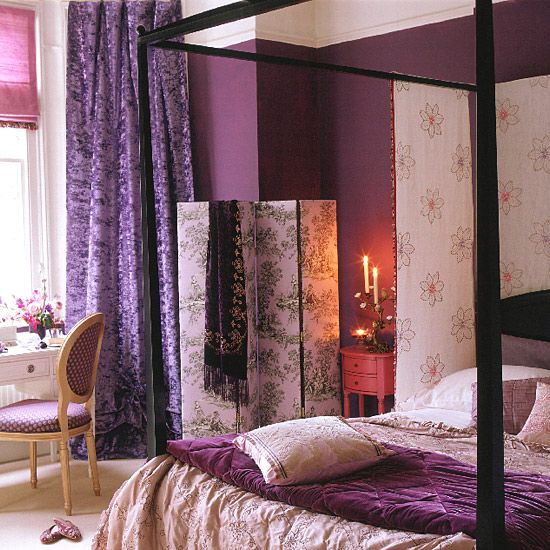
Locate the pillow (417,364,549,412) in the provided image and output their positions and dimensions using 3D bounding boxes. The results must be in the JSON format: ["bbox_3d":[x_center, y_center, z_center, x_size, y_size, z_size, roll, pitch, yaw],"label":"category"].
[{"bbox_3d":[0.967,0.559,2.889,0.412,0.111,0.380,-20,-8,8],"label":"pillow"}]

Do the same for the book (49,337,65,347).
[{"bbox_3d":[-1.464,0.452,3.890,0.093,0.024,0.093,0,1,-35],"label":"book"}]
